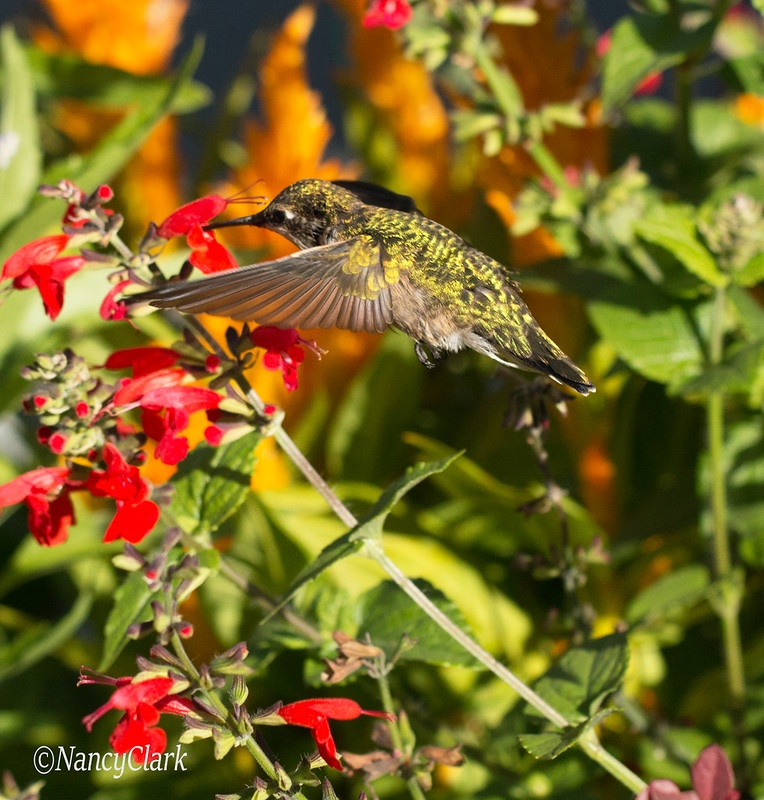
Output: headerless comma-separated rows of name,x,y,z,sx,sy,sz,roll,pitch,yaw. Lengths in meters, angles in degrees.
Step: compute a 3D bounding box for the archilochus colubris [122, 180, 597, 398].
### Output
archilochus colubris,0.019,-0.099,0.910,0.282,0.084,0.263,3,7,7
